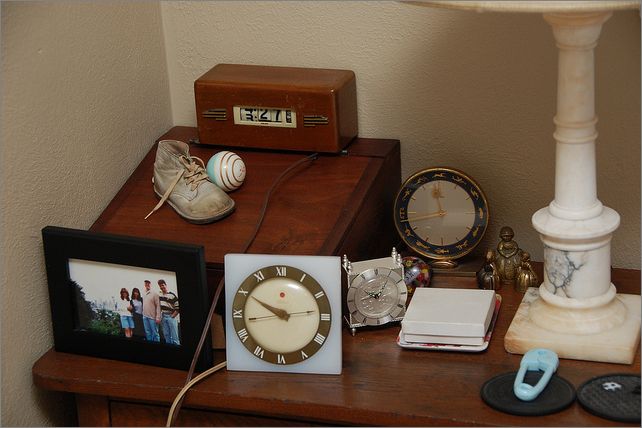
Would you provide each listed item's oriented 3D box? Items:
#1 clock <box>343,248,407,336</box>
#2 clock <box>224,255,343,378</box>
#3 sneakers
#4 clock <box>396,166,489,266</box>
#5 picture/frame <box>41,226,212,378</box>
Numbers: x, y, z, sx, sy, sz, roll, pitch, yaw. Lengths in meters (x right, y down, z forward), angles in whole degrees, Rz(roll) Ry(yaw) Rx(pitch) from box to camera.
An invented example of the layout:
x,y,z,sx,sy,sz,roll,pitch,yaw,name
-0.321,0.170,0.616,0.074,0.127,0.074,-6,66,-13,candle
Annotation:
x,y,z,sx,sy,sz,roll,pitch,yaw,name
0.129,0.190,1.255,0.148,0.185,0.073,-6,18,-5,clock
-0.075,0.214,1.121,0.265,0.265,0.040,0,-1,5,clock
-0.341,-0.057,1.370,0.237,0.112,0.193,31,47,31,sneakers
0.335,0.006,1.420,0.274,0.294,0.078,-1,8,7,clock
-0.438,0.205,1.164,0.320,0.268,0.026,6,22,14,picture/frame
